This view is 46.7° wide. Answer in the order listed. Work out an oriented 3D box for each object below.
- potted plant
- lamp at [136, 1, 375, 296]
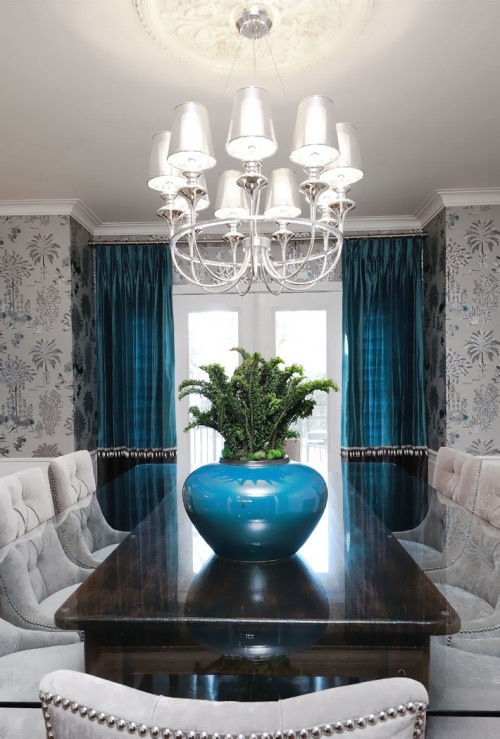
[{"bbox_3d":[0.020,0.246,1.543,0.449,0.616,0.482,2,-12,-5],"label":"potted plant"},{"bbox_3d":[-0.015,-0.747,2.545,0.732,0.860,2.019,0,4,-2],"label":"lamp"}]
